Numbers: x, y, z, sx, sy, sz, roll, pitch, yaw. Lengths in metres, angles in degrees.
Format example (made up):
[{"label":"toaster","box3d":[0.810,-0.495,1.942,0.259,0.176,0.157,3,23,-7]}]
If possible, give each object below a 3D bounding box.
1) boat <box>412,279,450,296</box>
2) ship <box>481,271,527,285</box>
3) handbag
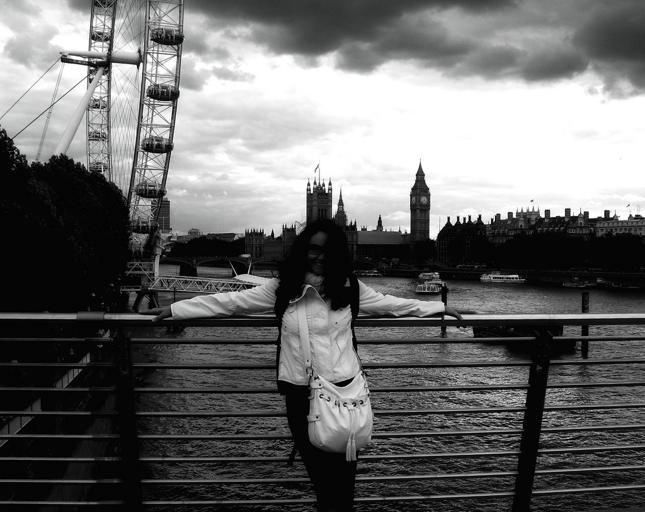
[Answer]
[{"label":"boat","box3d":[9.043,2.723,70.410,2.839,1.754,4.708,0,3,-7]},{"label":"ship","box3d":[17.963,2.322,83.882,1.597,1.544,6.121,-3,2,-42]},{"label":"handbag","box3d":[0.102,1.030,5.420,0.581,0.630,0.377,1,-8,-13]}]
